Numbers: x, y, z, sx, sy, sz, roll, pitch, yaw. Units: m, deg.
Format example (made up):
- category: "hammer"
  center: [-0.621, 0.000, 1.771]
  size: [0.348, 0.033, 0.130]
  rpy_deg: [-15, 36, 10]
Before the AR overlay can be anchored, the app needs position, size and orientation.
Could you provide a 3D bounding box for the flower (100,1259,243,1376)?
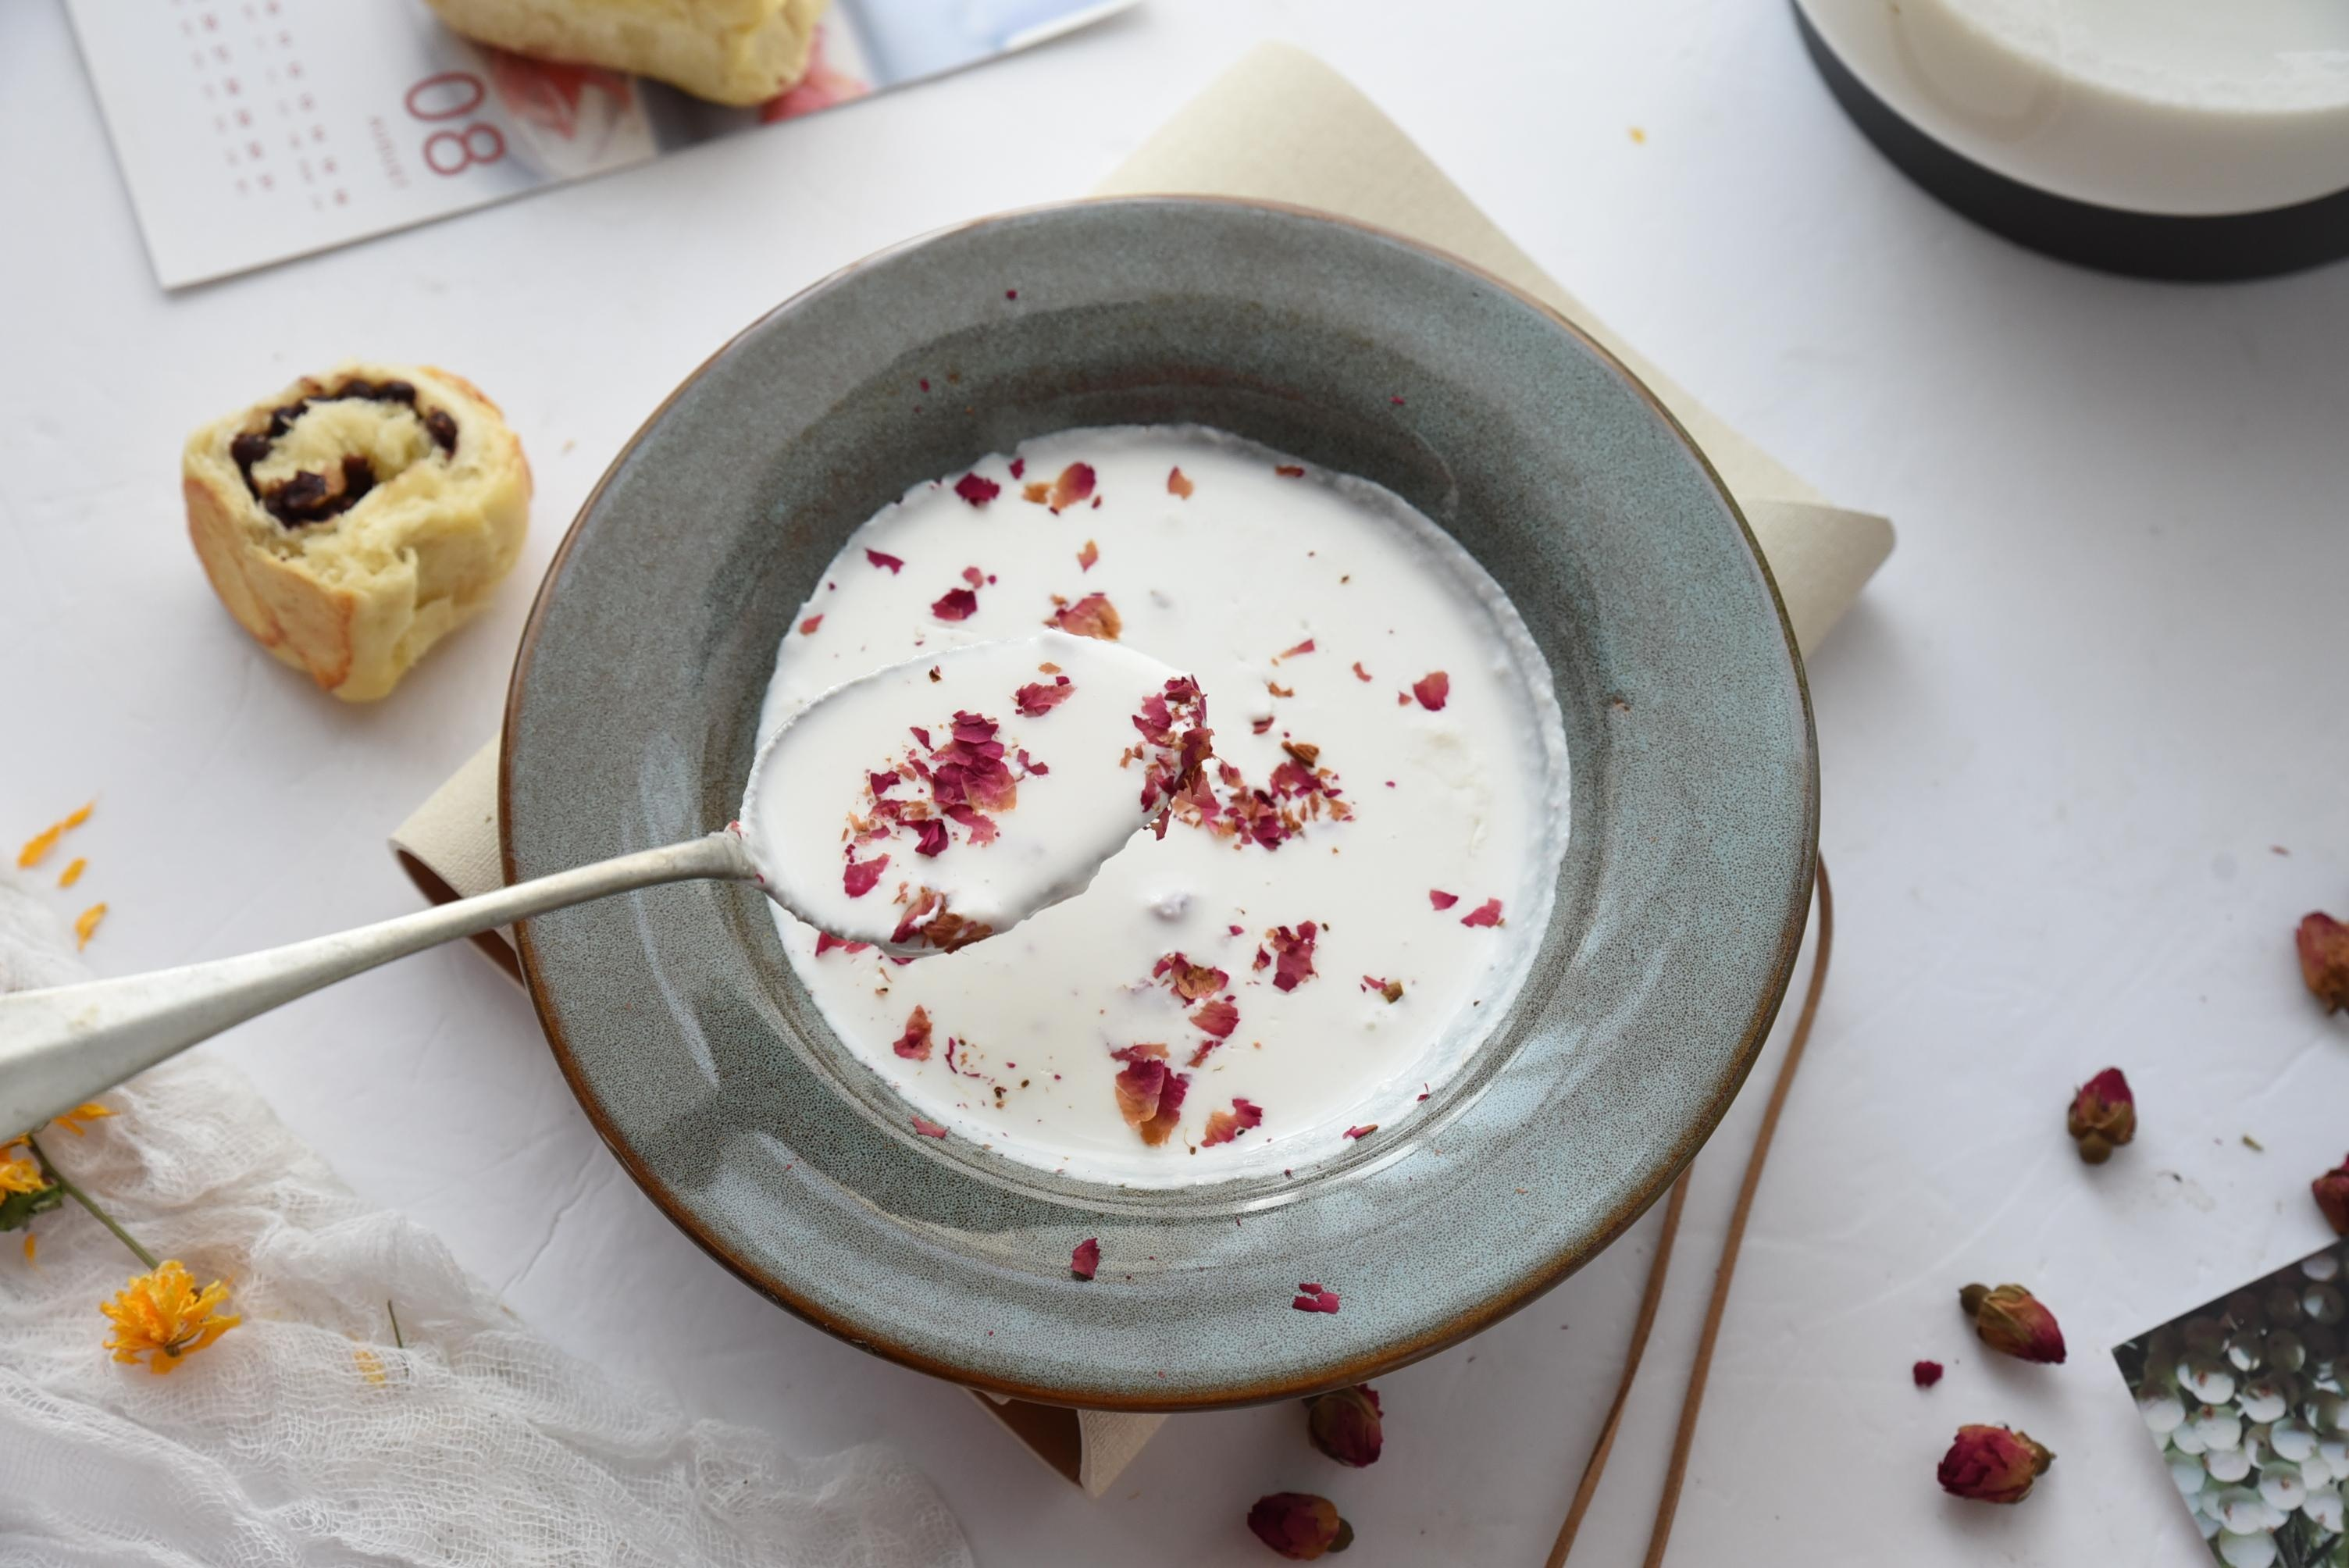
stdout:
- category: "flower"
  center: [-0.716, 0.381, 1.729]
  size: [0.077, 0.082, 0.070]
  rpy_deg: [-18, 104, -42]
